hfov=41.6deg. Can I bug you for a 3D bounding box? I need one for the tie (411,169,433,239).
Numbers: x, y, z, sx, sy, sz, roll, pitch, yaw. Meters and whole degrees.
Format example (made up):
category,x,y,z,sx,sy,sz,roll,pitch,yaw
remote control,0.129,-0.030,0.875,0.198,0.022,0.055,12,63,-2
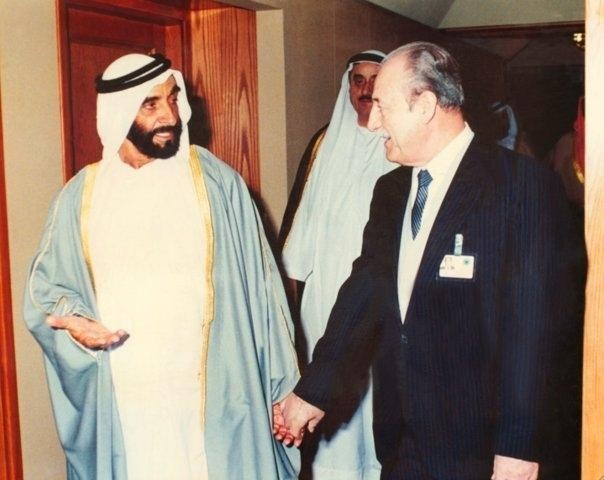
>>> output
category,x,y,z,sx,sy,sz,roll,pitch,yaw
tie,0.377,-0.115,2.489,0.022,0.235,0.049,14,-10,-43
